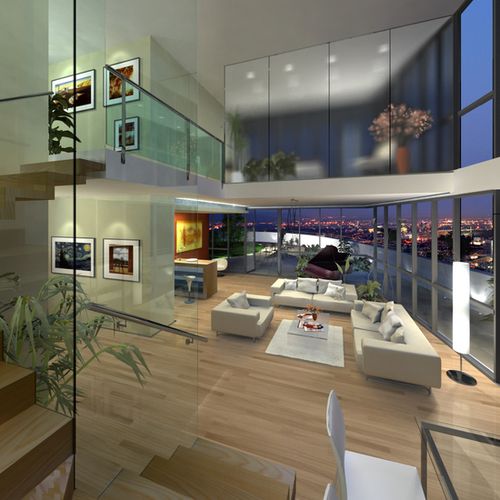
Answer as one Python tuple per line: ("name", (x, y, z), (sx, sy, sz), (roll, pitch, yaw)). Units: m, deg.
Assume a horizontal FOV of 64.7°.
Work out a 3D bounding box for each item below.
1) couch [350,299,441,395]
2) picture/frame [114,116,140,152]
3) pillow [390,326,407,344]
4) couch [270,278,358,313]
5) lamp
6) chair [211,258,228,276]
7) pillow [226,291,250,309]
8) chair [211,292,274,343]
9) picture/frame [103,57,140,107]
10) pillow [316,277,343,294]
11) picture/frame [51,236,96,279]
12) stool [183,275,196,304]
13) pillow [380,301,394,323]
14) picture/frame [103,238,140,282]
("couch", (1.898, 1.235, 5.272), (0.960, 0.599, 1.607), (1, 10, 11))
("picture/frame", (-1.134, -1.062, 3.572), (0.023, 0.417, 0.295), (8, 9, 30))
("pillow", (1.871, 1.054, 4.952), (0.117, 0.082, 0.193), (-11, 17, 33))
("couch", (1.302, 0.919, 8.064), (1.721, 0.477, 1.026), (3, 10, 18))
("lamp", (2.687, 0.845, 4.923), (0.341, 1.463, 0.657), (4, 10, 28))
("chair", (-0.894, 0.478, 11.633), (0.410, 0.489, 0.425), (2, 2, 7))
("pillow", (-0.199, 0.868, 6.778), (0.256, 0.093, 0.280), (4, 17, 16))
("chair", (-0.140, 1.049, 6.393), (0.606, 0.589, 0.875), (2, 7, 14))
("picture/frame", (-1.113, -1.447, 3.412), (0.318, 0.010, 0.388), (-26, -24, -28))
("pillow", (1.696, 0.775, 8.417), (0.601, 0.243, 0.465), (-2, 40, 19))
("picture/frame", (-1.113, 0.036, 2.464), (0.011, 0.282, 0.298), (7, 7, 35))
("stool", (-0.577, 0.372, 3.806), (0.107, 0.258, 0.272), (-2, 9, -9))
("pillow", (2.037, 0.917, 5.867), (0.081, 0.204, 0.247), (22, -2, 1))
("picture/frame", (-1.124, 0.080, 3.424), (0.314, 0.428, 0.022), (0, -2, 12))
